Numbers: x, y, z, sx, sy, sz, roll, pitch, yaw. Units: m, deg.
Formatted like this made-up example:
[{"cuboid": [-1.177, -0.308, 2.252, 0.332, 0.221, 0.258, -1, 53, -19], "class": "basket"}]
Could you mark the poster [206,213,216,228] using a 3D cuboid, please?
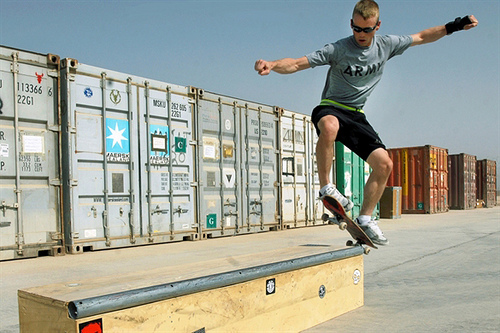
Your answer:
[{"cuboid": [-1.077, 1.467, 11.449, 0.388, 0.470, 0.057, 2, -3, -36], "class": "poster"}]

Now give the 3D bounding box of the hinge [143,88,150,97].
[{"cuboid": [-2.526, -1.803, 10.299, 0.136, 0.247, 0.175, 1, 0, -1], "class": "hinge"}]

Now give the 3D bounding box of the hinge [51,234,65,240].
[{"cuboid": [-4.130, 1.511, 9.075, 0.128, 0.085, 0.117, 2, -2, 28], "class": "hinge"}]

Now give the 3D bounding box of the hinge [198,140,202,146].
[{"cuboid": [-1.348, -0.617, 11.293, 0.094, 0.128, 0.171, -5, -9, 31], "class": "hinge"}]

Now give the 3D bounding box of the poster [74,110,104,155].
[{"cuboid": [-3.601, -0.761, 9.431, 0.100, 0.898, 0.619, -4, -1, 44], "class": "poster"}]

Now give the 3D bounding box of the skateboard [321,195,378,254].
[{"cuboid": [1.306, 0.756, 5.892, 1.417, 0.236, 0.392, 46, -34, -17], "class": "skateboard"}]

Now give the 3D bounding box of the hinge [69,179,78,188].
[{"cuboid": [-3.819, 0.356, 9.144, 0.139, 0.123, 0.199, 1, 2, -15], "class": "hinge"}]

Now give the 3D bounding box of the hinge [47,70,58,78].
[{"cuboid": [-4.299, -2.018, 9.210, 0.201, 0.143, 0.115, 6, -6, -43], "class": "hinge"}]

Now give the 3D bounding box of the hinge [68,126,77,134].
[{"cuboid": [-3.871, -0.798, 9.205, 0.172, 0.110, 0.133, 4, 0, 27], "class": "hinge"}]

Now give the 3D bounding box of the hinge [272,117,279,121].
[{"cuboid": [0.813, -1.507, 13.431, 0.224, 0.109, 0.034, -3, -1, -40], "class": "hinge"}]

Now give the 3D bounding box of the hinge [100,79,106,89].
[{"cuboid": [-3.353, -1.879, 9.654, 0.136, 0.208, 0.060, -3, -1, -33], "class": "hinge"}]

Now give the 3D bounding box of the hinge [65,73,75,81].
[{"cuboid": [-3.917, -1.955, 9.211, 0.117, 0.155, 0.210, 6, 4, 40], "class": "hinge"}]

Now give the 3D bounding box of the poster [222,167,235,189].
[{"cuboid": [-0.629, 0.339, 11.869, 0.192, 0.555, 0.498, -3, -10, 32], "class": "poster"}]

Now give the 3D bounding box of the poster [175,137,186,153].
[{"cuboid": [-1.800, -0.555, 10.908, 0.030, 0.374, 0.337, -4, -1, 41], "class": "poster"}]

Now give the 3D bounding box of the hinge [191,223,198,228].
[{"cuboid": [-1.458, 1.550, 11.077, 0.044, 0.116, 0.195, -4, -1, 41], "class": "hinge"}]

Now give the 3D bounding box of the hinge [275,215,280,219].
[{"cuboid": [0.858, 1.585, 13.254, 0.173, 0.109, 0.026, -3, -1, -42], "class": "hinge"}]
